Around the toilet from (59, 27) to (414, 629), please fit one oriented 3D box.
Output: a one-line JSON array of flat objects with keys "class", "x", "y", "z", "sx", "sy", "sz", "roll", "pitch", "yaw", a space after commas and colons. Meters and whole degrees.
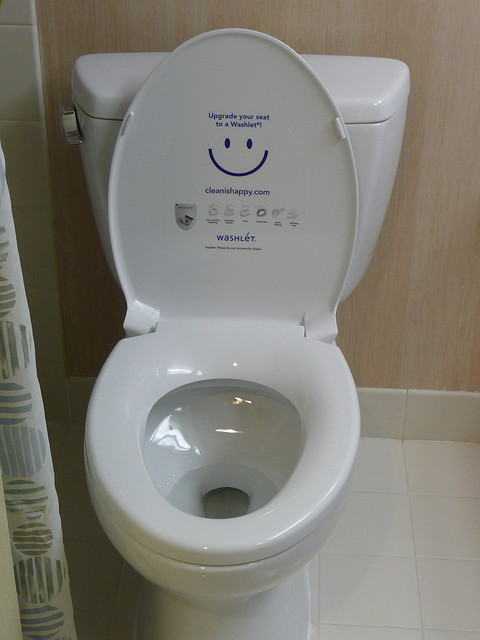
[{"class": "toilet", "x": -0.007, "y": -0.004, "z": 0.909, "sx": 0.348, "sy": 0.758, "sz": 0.662, "roll": 3, "pitch": 55, "yaw": 4}]
